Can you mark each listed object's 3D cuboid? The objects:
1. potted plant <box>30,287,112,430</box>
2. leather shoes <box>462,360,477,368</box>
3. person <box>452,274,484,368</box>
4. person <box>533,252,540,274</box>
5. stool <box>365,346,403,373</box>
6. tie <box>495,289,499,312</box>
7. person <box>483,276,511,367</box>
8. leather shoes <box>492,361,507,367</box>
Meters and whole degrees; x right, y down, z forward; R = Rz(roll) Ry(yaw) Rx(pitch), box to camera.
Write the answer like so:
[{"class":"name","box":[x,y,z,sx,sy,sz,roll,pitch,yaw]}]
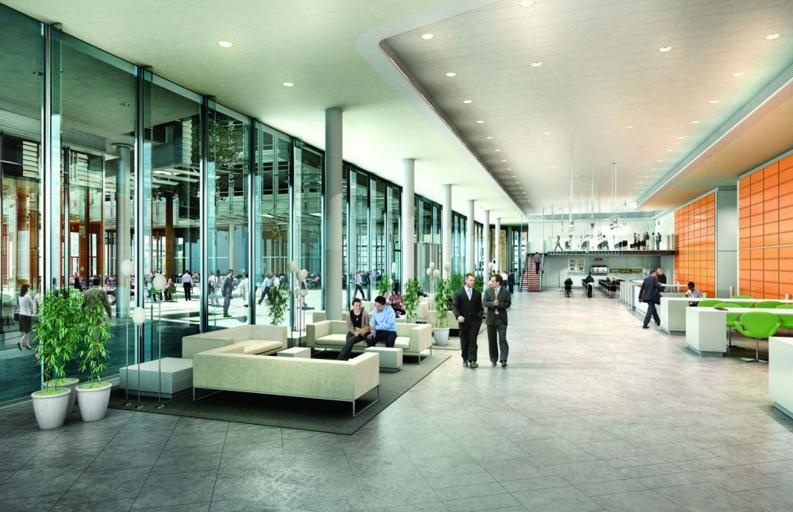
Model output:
[{"class":"potted plant","box":[-5.491,1.549,9.718,1.187,2.144,1.744,-6,13,-26]},{"class":"leather shoes","box":[1.591,2.348,12.377,0.277,0.106,0.116,-2,-3,23]},{"class":"person","box":[1.556,1.405,12.431,0.662,2.110,0.791,1,12,5]},{"class":"person","box":[9.657,0.322,39.024,0.391,1.103,1.494,3,12,12]},{"class":"stool","box":[-0.231,2.048,11.272,0.786,0.465,0.412,0,2,23]},{"class":"tie","box":[2.166,0.904,12.373,0.103,0.401,0.113,0,-6,6]},{"class":"person","box":[2.223,1.326,12.624,0.609,2.192,0.945,2,13,8]},{"class":"leather shoes","box":[2.284,2.363,12.533,0.381,0.148,0.118,-7,-8,32]}]
